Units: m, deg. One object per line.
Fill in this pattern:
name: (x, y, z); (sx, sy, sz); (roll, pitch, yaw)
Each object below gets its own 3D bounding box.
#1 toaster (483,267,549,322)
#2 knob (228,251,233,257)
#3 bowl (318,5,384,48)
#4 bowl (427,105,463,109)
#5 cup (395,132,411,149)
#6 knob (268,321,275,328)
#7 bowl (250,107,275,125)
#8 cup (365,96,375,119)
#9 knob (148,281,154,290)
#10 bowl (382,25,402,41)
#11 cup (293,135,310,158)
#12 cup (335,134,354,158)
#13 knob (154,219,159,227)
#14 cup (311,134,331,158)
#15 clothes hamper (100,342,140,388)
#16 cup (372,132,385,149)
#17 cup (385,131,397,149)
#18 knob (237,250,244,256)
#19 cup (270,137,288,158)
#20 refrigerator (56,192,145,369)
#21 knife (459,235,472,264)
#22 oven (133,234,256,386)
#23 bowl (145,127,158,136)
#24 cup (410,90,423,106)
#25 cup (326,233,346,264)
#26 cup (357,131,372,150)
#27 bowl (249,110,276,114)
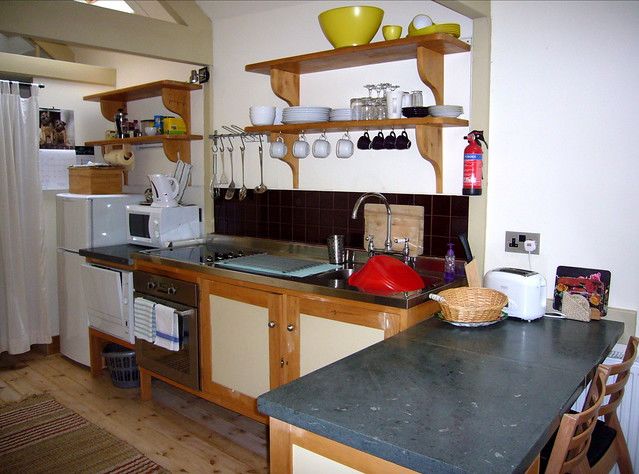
toaster: (1.019, 0.290, 2.490); (0.180, 0.236, 0.301); (-10, 10, -38)
knob: (-0.658, 0.127, 3.509); (0.037, 0.039, 0.035); (-1, 11, -23)
bowl: (0.182, -1.236, 2.898); (0.388, 0.275, 0.362); (6, 12, -1)
bowl: (0.688, -0.727, 2.678); (0.177, 0.023, 0.118); (-2, 13, -4)
cup: (0.512, -0.587, 2.922); (0.074, 0.105, 0.072); (-1, 7, 0)
knob: (-0.288, 0.519, 2.826); (0.033, 0.029, 0.008); (1, 7, 29)
bowl: (-0.394, -0.809, 3.207); (0.125, 0.082, 0.129); (0, 16, 0)
cup: (0.301, -0.773, 2.885); (0.062, 0.122, 0.042); (6, 15, 28)
knob: (-1.181, 0.342, 3.328); (0.026, 0.057, 0.059); (-11, 16, -37)
bowl: (0.415, -1.176, 2.762); (0.110, 0.087, 0.111); (-1, 13, 0)
cup: (-0.139, -0.599, 3.234); (0.113, 0.160, 0.106); (22, 15, -6)
cup: (0.156, -0.563, 3.038); (0.109, 0.160, 0.070); (1, -25, 0)
knob: (-1.263, -0.108, 3.678); (0.028, 0.036, 0.015); (3, -7, 10)
cup: (0.009, -0.584, 3.179); (0.125, 0.162, 0.109); (-2, -4, 10)
clothes hamper: (-1.542, 1.025, 3.839); (0.353, 0.255, 0.348); (-6, 9, -36)
cup: (0.382, -0.601, 3.029); (0.074, 0.105, 0.067); (-5, 2, 0)
cup: (0.438, -0.589, 2.951); (0.077, 0.104, 0.067); (-6, -1, 16)
knob: (-0.590, 0.121, 3.552); (0.028, 0.045, 0.047); (0, 9, -12)
cup: (-0.271, -0.606, 3.264); (0.084, 0.137, 0.155); (8, 16, 34)
refrigerator: (-1.975, 0.355, 4.236); (0.714, 1.474, 0.616); (9, 16, 35)
knife: (0.794, 0.061, 2.587); (0.064, 0.150, 0.139); (3, 13, 17)
oven: (-0.812, 0.428, 3.485); (0.734, 0.957, 0.777); (4, 5, 40)
bowl: (-1.440, -0.893, 4.066); (0.079, 0.058, 0.073); (-2, 10, 0)
cup: (0.557, -0.792, 2.746); (0.070, 0.083, 0.066); (-1, 13, 0)
cup: (0.117, 0.079, 3.139); (0.130, 0.187, 0.090); (-3, 13, -11)
cup: (0.292, -0.610, 3.077); (0.085, 0.121, 0.078); (-4, 9, 1)
bowl: (-0.383, -0.835, 3.203); (0.172, 0.027, 0.053); (-2, 13, -6)
